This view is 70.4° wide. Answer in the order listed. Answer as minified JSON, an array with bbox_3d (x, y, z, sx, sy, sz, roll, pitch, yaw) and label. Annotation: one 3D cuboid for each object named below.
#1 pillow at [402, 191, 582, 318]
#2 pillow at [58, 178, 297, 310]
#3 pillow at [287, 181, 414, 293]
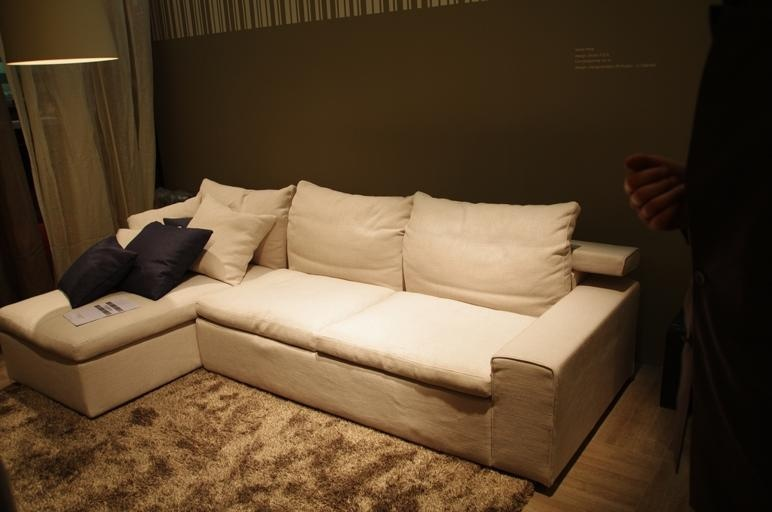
[{"bbox_3d":[0.687,-0.115,3.170,0.382,0.684,1.004,-29,32,-25],"label":"pillow"},{"bbox_3d":[-1.292,-0.206,3.482,0.902,0.528,1.141,10,20,34],"label":"pillow"},{"bbox_3d":[-0.227,-0.101,3.513,0.615,0.450,0.221,9,19,27],"label":"pillow"}]
